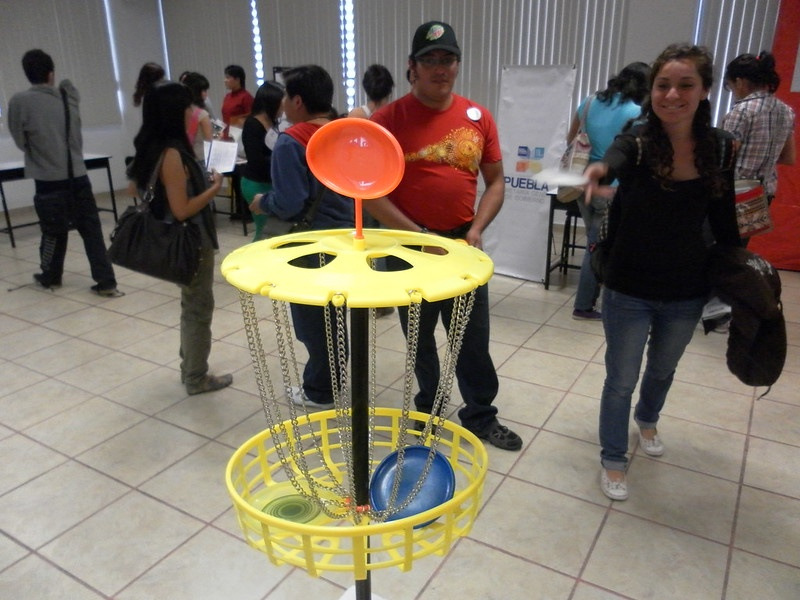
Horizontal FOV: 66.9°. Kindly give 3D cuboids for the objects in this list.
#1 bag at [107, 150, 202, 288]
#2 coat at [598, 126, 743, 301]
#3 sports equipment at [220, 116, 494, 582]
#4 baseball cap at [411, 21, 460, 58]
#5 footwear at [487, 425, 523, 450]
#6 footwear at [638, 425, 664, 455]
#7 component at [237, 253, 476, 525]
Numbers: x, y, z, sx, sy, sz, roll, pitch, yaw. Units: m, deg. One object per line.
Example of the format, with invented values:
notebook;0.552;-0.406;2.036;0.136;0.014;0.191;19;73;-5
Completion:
bag;-1.307;-0.387;3.189;0.443;0.664;0.248;6;25;14
coat;1.205;-0.331;2.749;0.638;0.850;0.474;6;-18;10
sports equipment;-0.132;0.103;1.819;0.889;1.158;0.842;3;12;6
baseball cap;0.149;-1.151;2.672;0.213;0.152;0.218;0;24;1
footwear;0.519;0.695;3.123;0.197;0.081;0.097;14;28;39
footwear;1.288;0.708;3.081;0.074;0.062;0.185;-3;19;13
component;-0.129;0.245;1.843;0.753;0.747;0.710;0;12;1
